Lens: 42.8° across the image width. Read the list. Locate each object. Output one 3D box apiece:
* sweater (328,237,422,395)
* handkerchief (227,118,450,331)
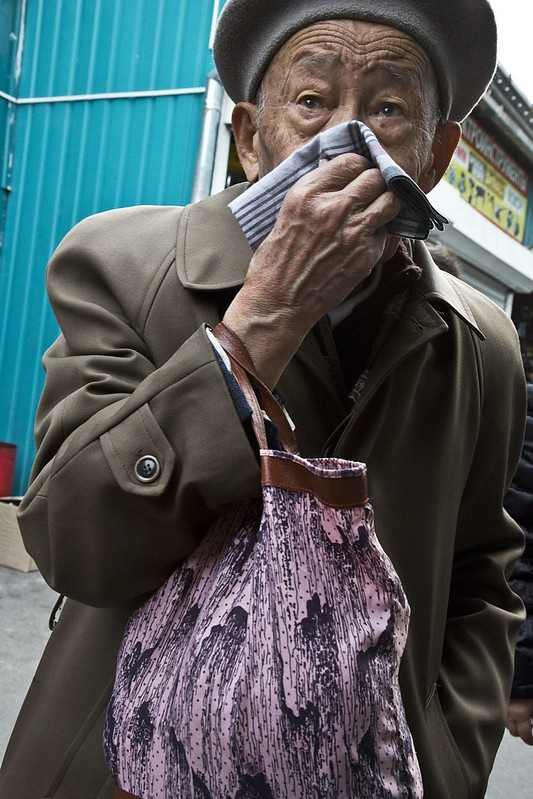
[{"bbox_3d":[0.219,-0.182,1.480,0.210,0.298,0.288,13,-16,19],"label":"sweater"},{"bbox_3d":[0.106,-0.293,1.090,0.260,0.250,0.110,45,20,-54],"label":"handkerchief"}]
